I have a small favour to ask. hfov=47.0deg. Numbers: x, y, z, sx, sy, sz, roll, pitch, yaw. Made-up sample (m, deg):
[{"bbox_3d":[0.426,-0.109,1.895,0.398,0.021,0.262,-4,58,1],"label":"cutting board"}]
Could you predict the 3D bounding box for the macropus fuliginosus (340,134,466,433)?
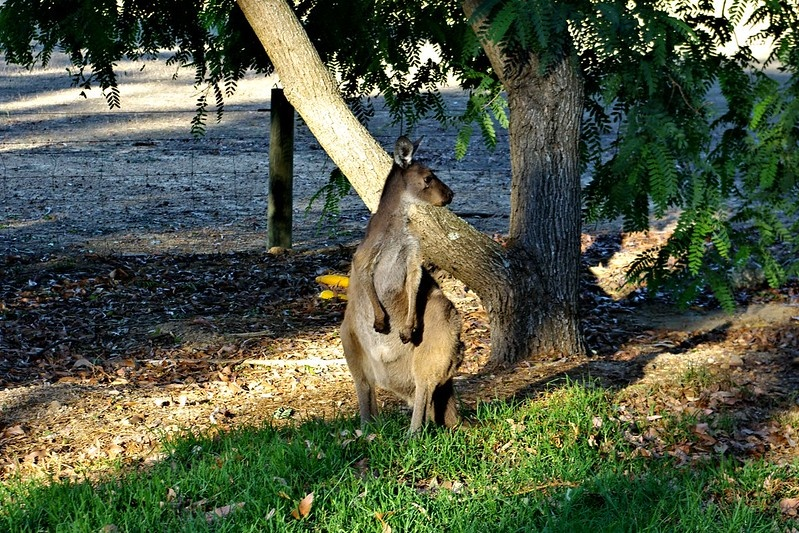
[{"bbox_3d":[0.001,0.207,8.356,1.096,2.724,0.712,-4,15,-2],"label":"macropus fuliginosus"}]
